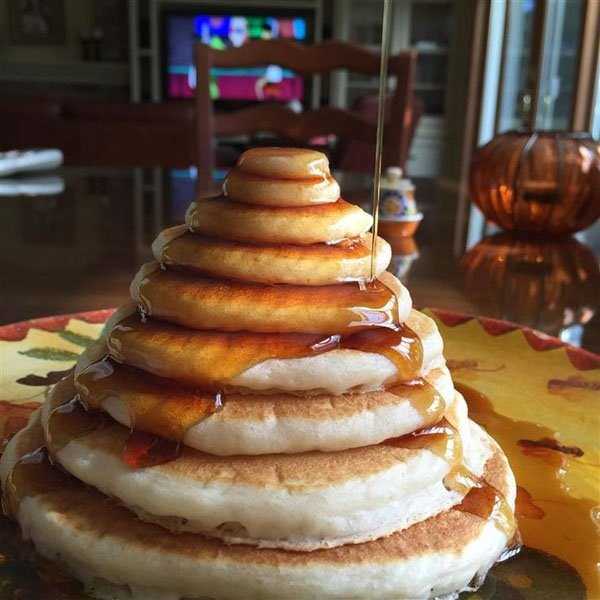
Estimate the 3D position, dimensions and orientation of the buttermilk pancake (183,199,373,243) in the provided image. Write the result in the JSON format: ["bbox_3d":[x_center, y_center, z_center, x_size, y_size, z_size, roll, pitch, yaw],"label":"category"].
[{"bbox_3d":[-0.022,-0.071,0.611,0.146,0.023,0.110,-2,20,-18],"label":"buttermilk pancake"}]

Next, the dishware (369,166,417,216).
[{"bbox_3d":[0.198,-0.231,1.605,0.157,0.106,0.130,-1,5,0],"label":"dishware"}]

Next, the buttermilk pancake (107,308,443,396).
[{"bbox_3d":[-0.039,0.038,0.630,0.256,0.041,0.225,2,6,-18],"label":"buttermilk pancake"}]

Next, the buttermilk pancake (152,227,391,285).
[{"bbox_3d":[-0.022,-0.037,0.621,0.163,0.029,0.178,16,18,39],"label":"buttermilk pancake"}]

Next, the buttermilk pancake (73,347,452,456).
[{"bbox_3d":[-0.032,0.062,0.545,0.149,0.023,0.114,3,6,22],"label":"buttermilk pancake"}]
